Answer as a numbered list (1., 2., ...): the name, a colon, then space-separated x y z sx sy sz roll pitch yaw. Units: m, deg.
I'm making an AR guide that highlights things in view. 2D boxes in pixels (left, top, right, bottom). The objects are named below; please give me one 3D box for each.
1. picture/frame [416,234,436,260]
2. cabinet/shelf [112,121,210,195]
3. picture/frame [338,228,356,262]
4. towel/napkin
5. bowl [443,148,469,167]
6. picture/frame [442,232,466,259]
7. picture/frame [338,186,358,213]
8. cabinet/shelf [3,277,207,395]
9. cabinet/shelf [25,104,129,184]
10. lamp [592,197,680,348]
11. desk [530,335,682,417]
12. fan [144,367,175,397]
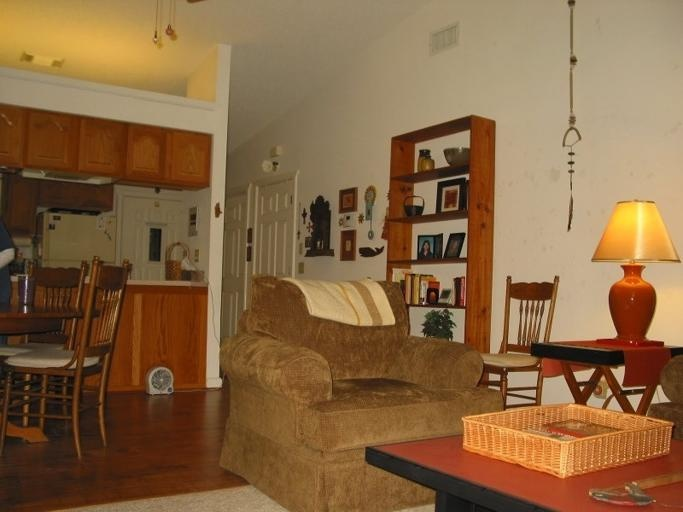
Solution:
1. picture/frame: 0.768 -0.088 5.071 0.033 0.333 0.187 19 -22 -36
2. cabinet/shelf: -1.877 -0.920 6.031 0.956 0.695 0.551 3 -5 -21
3. picture/frame: 0.064 -0.126 6.275 0.036 0.460 0.335 7 -9 -34
4. towel/napkin: 0.034 0.284 3.504 0.412 0.142 0.422 2 8 -23
5. bowl: 0.972 -0.818 4.783 0.168 0.113 0.169 1 -3 0
6. picture/frame: 0.997 -0.096 4.979 0.024 0.312 0.222 27 -20 -28
7. picture/frame: 0.076 -0.638 6.278 0.039 0.298 0.299 5 -7 -35
8. cabinet/shelf: -1.886 0.635 4.430 1.055 1.175 0.373 -1 -2 -38
9. cabinet/shelf: -2.663 -0.907 5.621 0.937 0.650 0.510 4 -4 -26
10. lamp: 1.791 0.087 3.417 0.373 0.852 0.415 1 -1 -42
11. desk: 1.545 0.610 3.349 0.602 0.640 0.614 -3 3 -27
12. fan: -1.711 1.169 5.281 0.242 0.259 0.171 1 -1 -26
